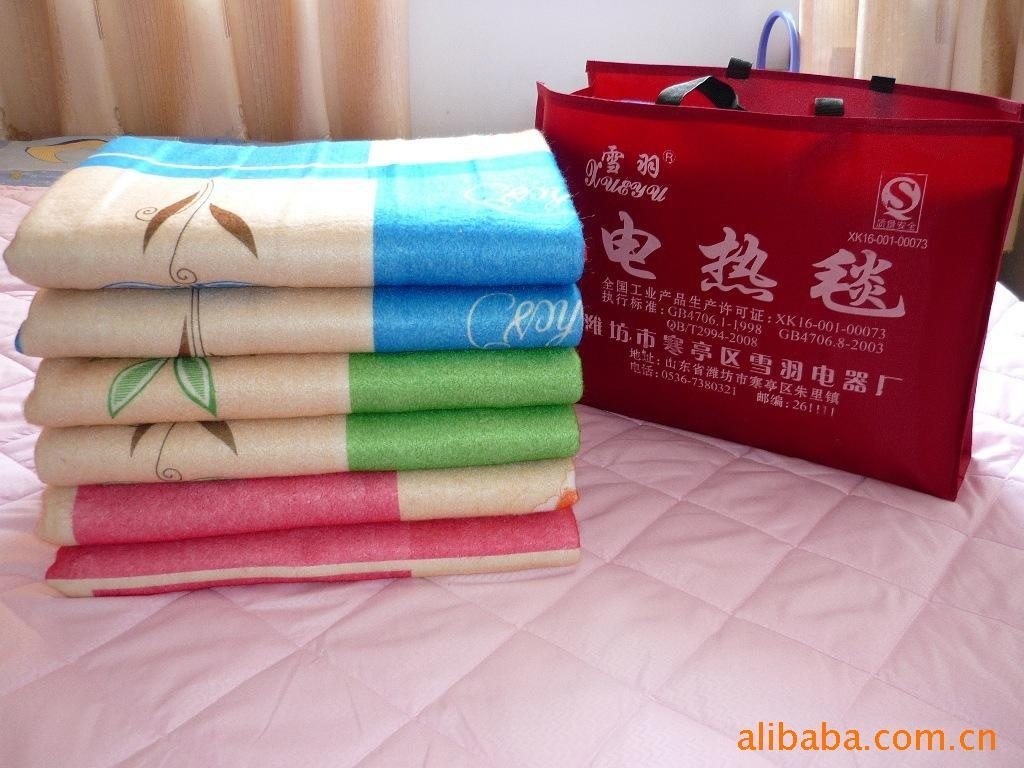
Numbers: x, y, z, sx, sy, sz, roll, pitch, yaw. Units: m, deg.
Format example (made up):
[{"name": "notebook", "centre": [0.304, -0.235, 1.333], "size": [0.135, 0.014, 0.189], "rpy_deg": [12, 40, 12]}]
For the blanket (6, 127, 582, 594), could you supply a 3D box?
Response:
[{"name": "blanket", "centre": [-0.175, -0.024, 0.817], "size": [0.584, 0.292, 0.401], "rpy_deg": [-2, 29, -4]}]
